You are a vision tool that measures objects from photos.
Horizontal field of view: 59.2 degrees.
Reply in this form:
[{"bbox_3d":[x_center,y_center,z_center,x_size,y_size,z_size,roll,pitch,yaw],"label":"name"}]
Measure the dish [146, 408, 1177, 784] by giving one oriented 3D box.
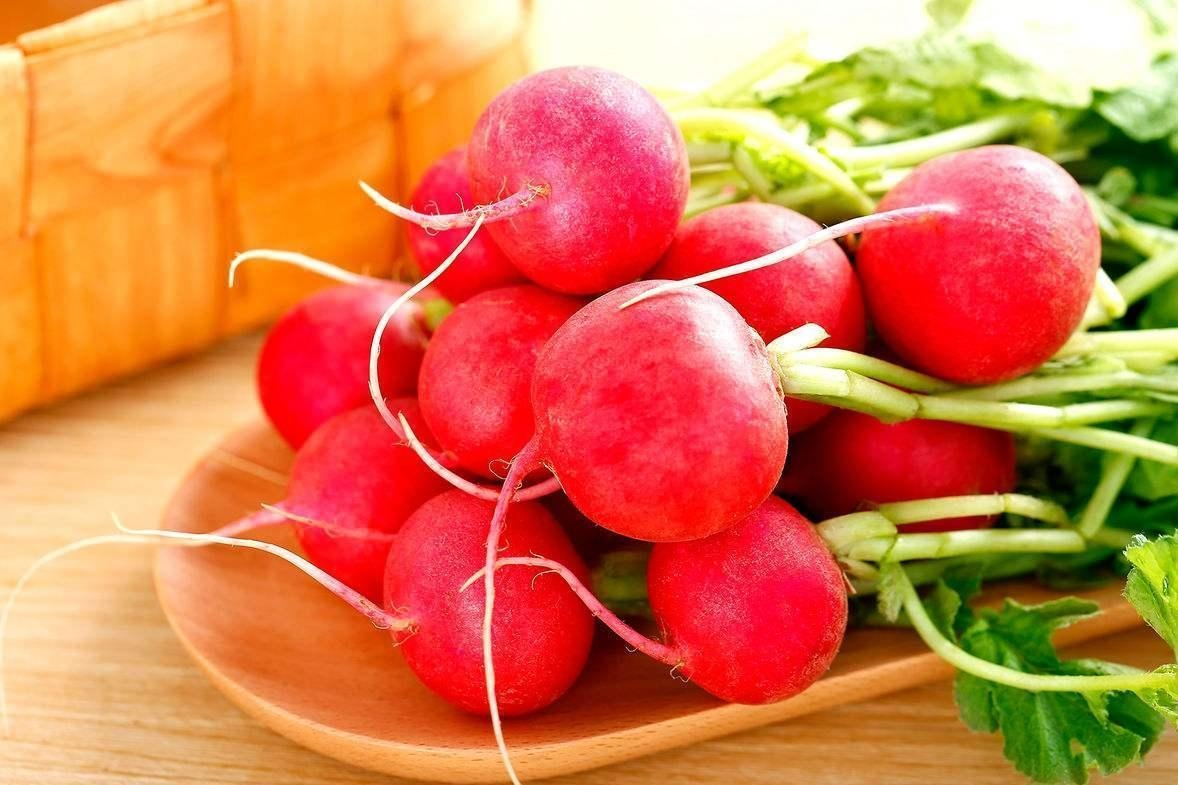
[{"bbox_3d":[-0.025,0.216,0.924,0.632,0.082,0.364,-6,27,-18],"label":"dish"}]
